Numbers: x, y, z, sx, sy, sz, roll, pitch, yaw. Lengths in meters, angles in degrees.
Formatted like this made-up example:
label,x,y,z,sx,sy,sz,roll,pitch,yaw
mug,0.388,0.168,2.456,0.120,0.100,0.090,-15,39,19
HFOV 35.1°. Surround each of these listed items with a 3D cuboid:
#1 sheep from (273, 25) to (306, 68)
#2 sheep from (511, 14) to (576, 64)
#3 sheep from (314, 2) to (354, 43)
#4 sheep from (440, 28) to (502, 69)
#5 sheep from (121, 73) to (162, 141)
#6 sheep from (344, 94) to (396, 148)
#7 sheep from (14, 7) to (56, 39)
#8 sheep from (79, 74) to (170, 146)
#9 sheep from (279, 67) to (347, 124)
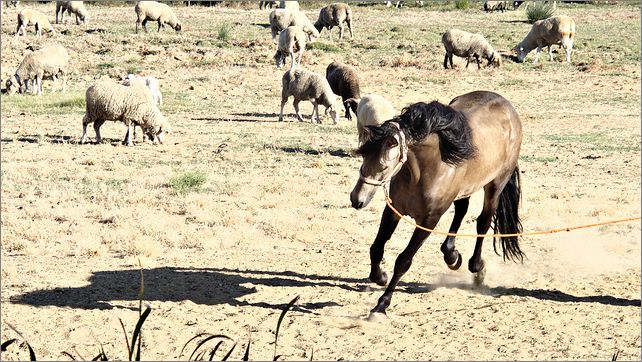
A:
label,x,y,z,sx,sy,sz,roll,pitch,yaw
sheep,-1.699,-7.017,53.060,1.309,2.092,1.544,4,12,20
sheep,12.530,-7.868,56.093,2.906,2.499,2.207,3,12,11
sheep,0.881,-9.497,60.007,2.129,1.998,3.431,-2,12,-11
sheep,8.021,-7.050,54.268,2.940,2.032,1.477,1,12,6
sheep,-7.607,-2.987,42.707,2.404,3.119,1.251,4,-1,28
sheep,2.389,-2.753,41.090,2.825,2.706,1.401,2,-1,28
sheep,-16.477,-8.864,56.062,0.992,1.838,3.652,6,6,35
sheep,-8.189,-2.913,41.661,4.401,3.042,1.811,6,10,-13
sheep,-0.548,-3.785,45.108,2.674,2.409,0.993,0,12,1
